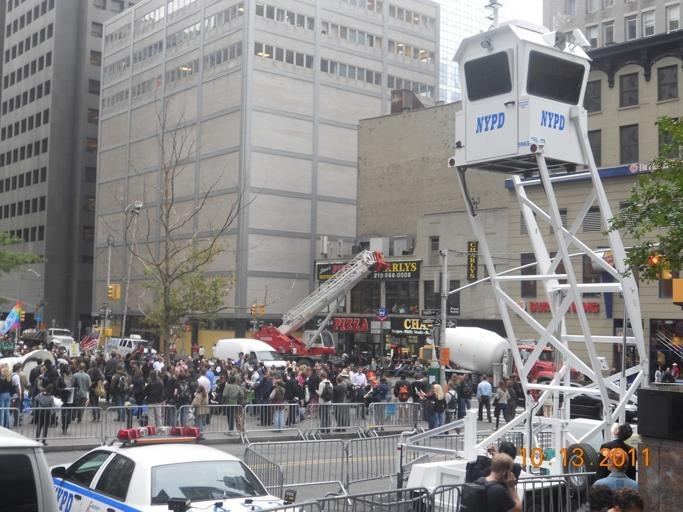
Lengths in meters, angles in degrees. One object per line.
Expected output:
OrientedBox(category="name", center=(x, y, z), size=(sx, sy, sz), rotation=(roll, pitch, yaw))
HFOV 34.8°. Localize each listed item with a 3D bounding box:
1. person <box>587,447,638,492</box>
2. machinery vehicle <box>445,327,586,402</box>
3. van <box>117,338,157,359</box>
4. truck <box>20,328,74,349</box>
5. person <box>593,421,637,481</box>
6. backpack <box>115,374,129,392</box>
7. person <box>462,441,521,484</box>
OrientedBox(category="person", center=(7.315, 5.685, 29.226), size=(1.170, 1.104, 1.206), rotation=(-2, -6, -4))
OrientedBox(category="machinery vehicle", center=(8.347, 5.520, 59.145), size=(8.843, 3.220, 2.556), rotation=(3, 11, 41))
OrientedBox(category="van", center=(-12.707, 5.505, 67.817), size=(1.731, 1.660, 3.316), rotation=(6, -10, -42))
OrientedBox(category="truck", center=(-20.229, 5.570, 74.543), size=(1.954, 1.807, 5.939), rotation=(5, -7, -44))
OrientedBox(category="person", center=(7.625, 5.402, 30.554), size=(1.034, 1.593, 1.088), rotation=(0, -1, 34))
OrientedBox(category="backpack", center=(-8.603, 4.944, 42.851), size=(0.507, 0.696, 0.184), rotation=(9, -15, -43))
OrientedBox(category="person", center=(4.074, 5.696, 30.142), size=(1.254, 1.142, 1.000), rotation=(1, -3, 10))
